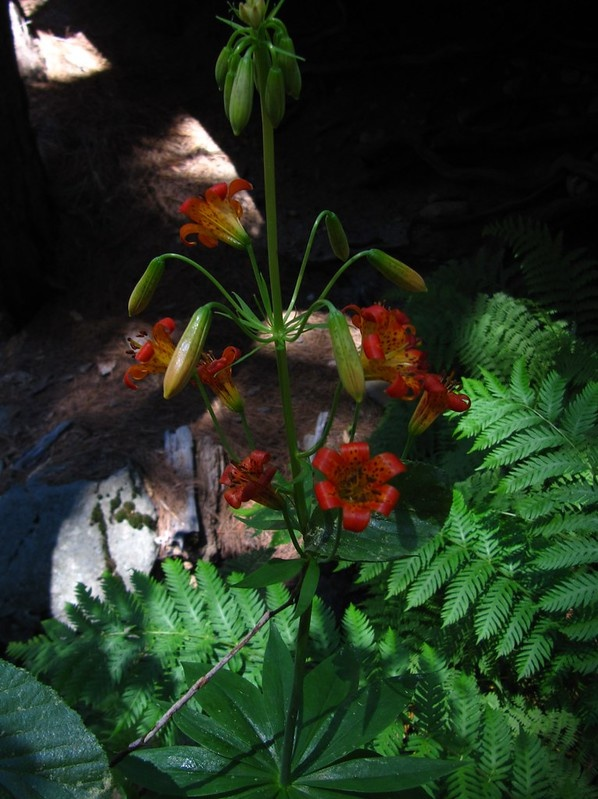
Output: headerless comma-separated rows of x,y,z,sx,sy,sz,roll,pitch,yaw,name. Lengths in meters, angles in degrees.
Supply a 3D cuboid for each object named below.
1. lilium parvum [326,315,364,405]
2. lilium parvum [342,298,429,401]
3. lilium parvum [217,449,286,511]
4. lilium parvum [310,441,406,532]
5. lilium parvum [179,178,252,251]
0.126,-0.107,1.849,0.068,0.264,0.076,-15,0,22,lilium parvum
0.288,-0.134,2.068,0.172,0.279,0.283,-30,22,7,lilium parvum
-0.126,0.247,2.007,0.156,0.236,0.148,-11,37,-16,lilium parvum
0.162,0.273,1.876,0.243,0.264,0.217,3,35,4,lilium parvum
-0.235,-0.549,2.116,0.208,0.273,0.252,-3,35,-4,lilium parvum
